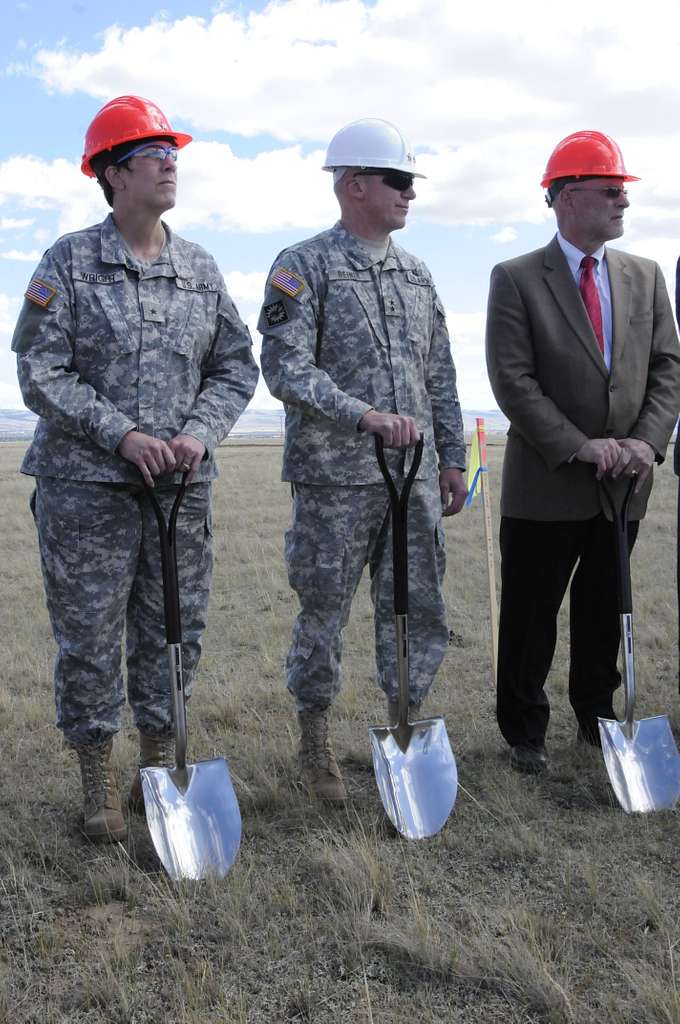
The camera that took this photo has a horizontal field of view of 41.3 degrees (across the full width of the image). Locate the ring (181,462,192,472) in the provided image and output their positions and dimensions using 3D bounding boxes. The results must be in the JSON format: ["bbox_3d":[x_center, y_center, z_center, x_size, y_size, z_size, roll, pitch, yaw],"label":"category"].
[{"bbox_3d":[-0.457,-0.134,2.713,0.018,0.026,0.025,4,-3,-16],"label":"ring"}]

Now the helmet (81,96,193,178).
[{"bbox_3d":[-0.644,-1.193,2.790,0.361,0.186,0.270,-7,13,31],"label":"helmet"}]

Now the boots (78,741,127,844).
[{"bbox_3d":[-0.775,0.914,2.947,0.131,0.336,0.342,-9,0,-16],"label":"boots"}]

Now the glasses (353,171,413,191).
[{"bbox_3d":[0.159,-1.101,2.997,0.150,0.046,0.146,11,11,17],"label":"glasses"}]

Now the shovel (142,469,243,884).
[{"bbox_3d":[-0.435,0.485,2.611,0.270,1.152,0.386,-2,6,-11],"label":"shovel"}]

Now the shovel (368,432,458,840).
[{"bbox_3d":[0.241,0.402,2.899,0.265,1.263,0.487,0,6,6],"label":"shovel"}]
